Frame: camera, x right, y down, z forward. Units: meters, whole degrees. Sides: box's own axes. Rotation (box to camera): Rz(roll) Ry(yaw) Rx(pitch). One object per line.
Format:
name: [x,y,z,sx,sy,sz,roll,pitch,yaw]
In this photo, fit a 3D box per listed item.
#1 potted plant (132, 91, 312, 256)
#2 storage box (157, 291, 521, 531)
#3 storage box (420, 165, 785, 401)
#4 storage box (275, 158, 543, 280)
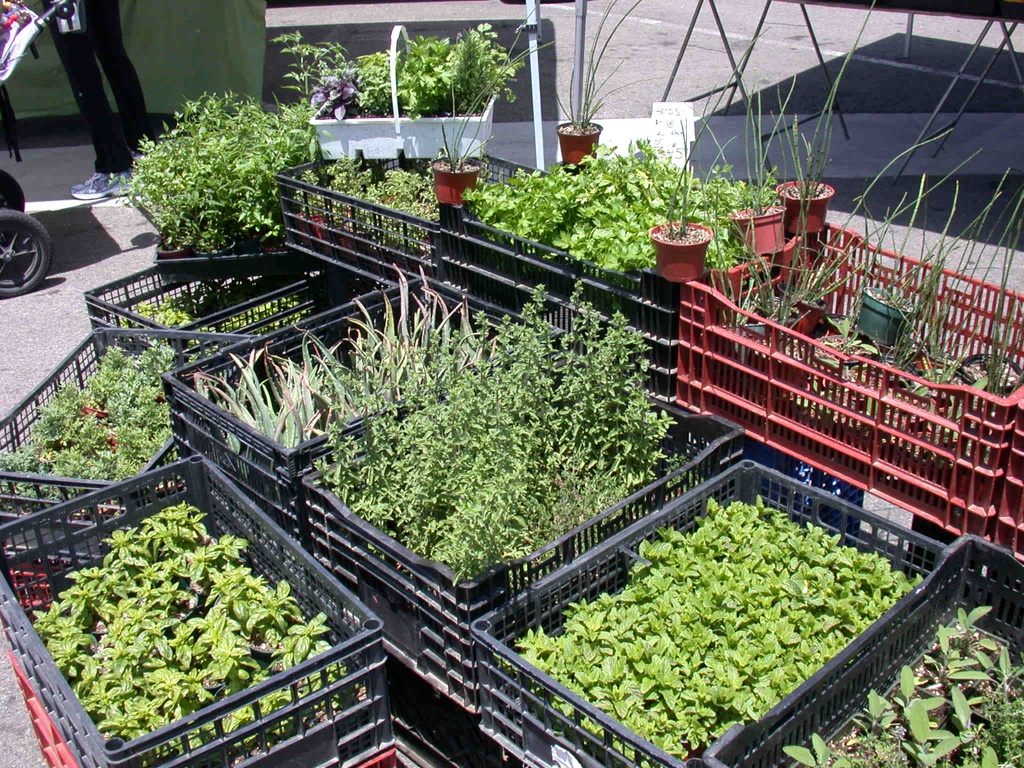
potted plant: [-1.920,-1.402,6.308,1.487,0.849,0.925,17,32,26]
storage box: [-1.026,0.329,4.943,1.265,0.437,1.244,-33,50,-29]
storage box: [0.294,-0.650,4.757,1.237,0.407,0.777,34,42,22]
storage box: [-0.762,-0.916,5.430,1.229,0.431,0.785,21,44,20]
